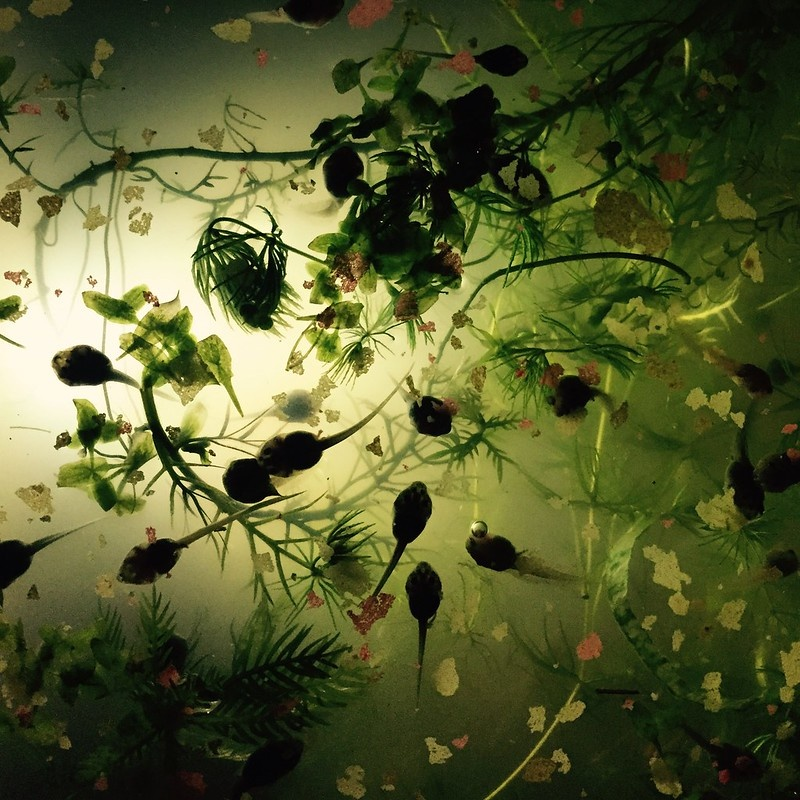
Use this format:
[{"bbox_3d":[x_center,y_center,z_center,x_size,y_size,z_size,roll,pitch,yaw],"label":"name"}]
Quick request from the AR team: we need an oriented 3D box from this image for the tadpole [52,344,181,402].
[{"bbox_3d":[-0.439,-0.038,1.410,0.169,0.048,0.050,14,-15,-7],"label":"tadpole"}]

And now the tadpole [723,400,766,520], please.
[{"bbox_3d":[0.542,0.096,1.447,0.064,0.047,0.176,6,-82,0],"label":"tadpole"}]

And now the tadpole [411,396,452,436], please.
[{"bbox_3d":[0.048,0.027,1.421,0.063,0.041,0.050,-3,-51,-4],"label":"tadpole"}]

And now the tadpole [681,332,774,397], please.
[{"bbox_3d":[0.529,-0.068,1.465,0.040,0.167,0.053,-21,-47,-29],"label":"tadpole"}]

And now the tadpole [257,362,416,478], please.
[{"bbox_3d":[-0.103,0.052,1.417,0.249,0.085,0.056,-17,-52,8],"label":"tadpole"}]

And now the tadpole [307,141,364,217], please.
[{"bbox_3d":[-0.090,-0.344,1.400,0.059,0.021,0.088,13,-82,-7],"label":"tadpole"}]

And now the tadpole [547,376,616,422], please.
[{"bbox_3d":[0.283,-0.006,1.422,0.097,0.044,0.059,-13,-51,4],"label":"tadpole"}]

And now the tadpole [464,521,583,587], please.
[{"bbox_3d":[0.191,0.252,1.452,0.197,0.057,0.046,21,-27,5],"label":"tadpole"}]

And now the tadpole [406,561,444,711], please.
[{"bbox_3d":[0.031,0.347,1.376,0.061,0.209,0.036,5,-42,-3],"label":"tadpole"}]
